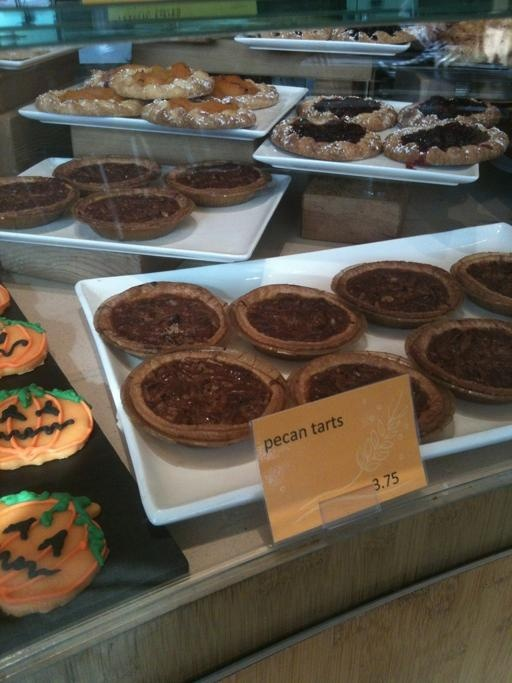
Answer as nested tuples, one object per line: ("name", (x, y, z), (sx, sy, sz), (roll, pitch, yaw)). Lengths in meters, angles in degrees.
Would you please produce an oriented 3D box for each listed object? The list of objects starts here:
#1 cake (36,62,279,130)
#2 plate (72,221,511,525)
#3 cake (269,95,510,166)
("cake", (-0.120, -0.340, 0.797), (0.359, 0.089, 0.110), (-11, 30, -15))
("plate", (0.121, 0.052, 0.791), (0.648, 0.080, 0.385), (-11, 48, -15))
("cake", (0.196, -0.305, 0.843), (0.278, 0.040, 0.148), (4, 37, 8))
